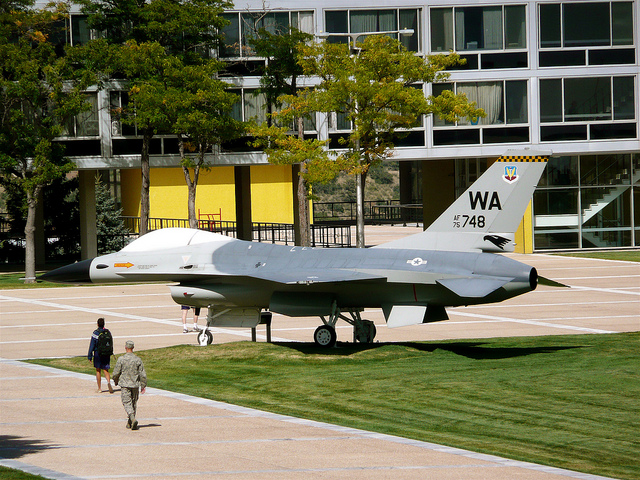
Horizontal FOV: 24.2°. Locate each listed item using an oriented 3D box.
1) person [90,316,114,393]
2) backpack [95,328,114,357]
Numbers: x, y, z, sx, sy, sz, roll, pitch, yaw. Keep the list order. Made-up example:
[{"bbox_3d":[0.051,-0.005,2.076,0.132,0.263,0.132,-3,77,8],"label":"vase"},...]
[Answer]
[{"bbox_3d":[-8.408,4.400,58.343,1.074,2.891,1.637,3,-3,-29],"label":"person"},{"bbox_3d":[-8.318,3.966,58.113,0.603,1.021,0.471,4,5,-10],"label":"backpack"}]
